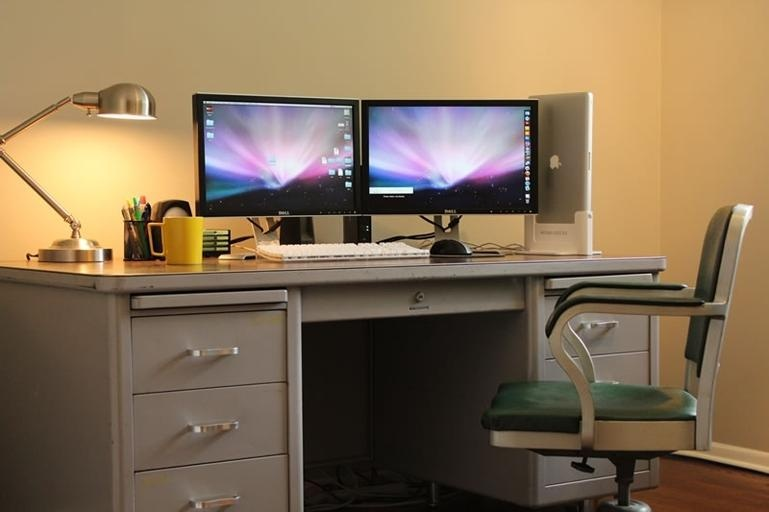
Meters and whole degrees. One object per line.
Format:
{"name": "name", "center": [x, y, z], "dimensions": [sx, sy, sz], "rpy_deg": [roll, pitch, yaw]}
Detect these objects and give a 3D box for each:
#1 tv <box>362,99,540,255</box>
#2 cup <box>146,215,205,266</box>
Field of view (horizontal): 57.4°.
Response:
{"name": "tv", "center": [0.238, -0.301, 2.682], "dimensions": [0.729, 0.581, 0.186], "rpy_deg": [0, 3, -21]}
{"name": "cup", "center": [-0.655, -0.046, 2.274], "dimensions": [0.205, 0.179, 0.133], "rpy_deg": [0, 2, -9]}
